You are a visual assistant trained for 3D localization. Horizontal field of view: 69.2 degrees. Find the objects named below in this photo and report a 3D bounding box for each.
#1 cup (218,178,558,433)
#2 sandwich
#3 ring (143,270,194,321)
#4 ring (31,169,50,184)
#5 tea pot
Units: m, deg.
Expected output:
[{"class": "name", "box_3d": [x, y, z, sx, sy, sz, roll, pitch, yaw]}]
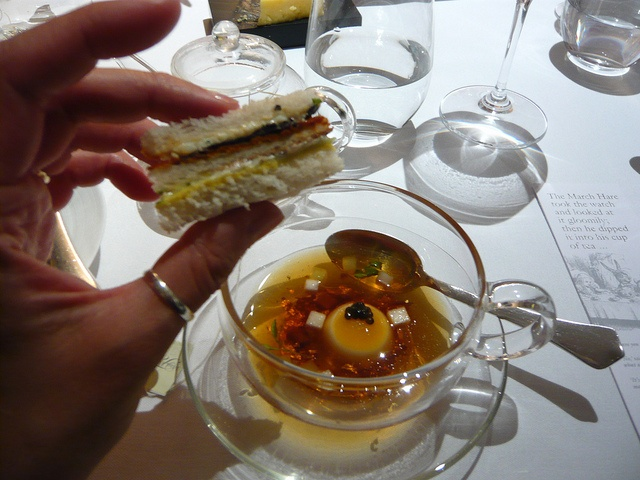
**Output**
[{"class": "cup", "box_3d": [0.093, 0.126, 0.824, 0.497, 0.210, 0.392, 11, 67, 5]}, {"class": "sandwich", "box_3d": [-0.119, -0.129, 0.789, 0.319, 0.108, 0.189, -14, 83, 1]}, {"class": "ring", "box_3d": [-0.233, 0.086, 0.712, 0.083, 0.060, 0.022, 38, 68, 21]}, {"class": "ring", "box_3d": [-0.543, -0.124, 0.900, 0.023, 0.011, 0.042, -37, 48, -2]}, {"class": "tea pot", "box_3d": [-0.161, -0.384, 1.008, 0.397, 0.168, 0.401, 2, 51, -2]}]
